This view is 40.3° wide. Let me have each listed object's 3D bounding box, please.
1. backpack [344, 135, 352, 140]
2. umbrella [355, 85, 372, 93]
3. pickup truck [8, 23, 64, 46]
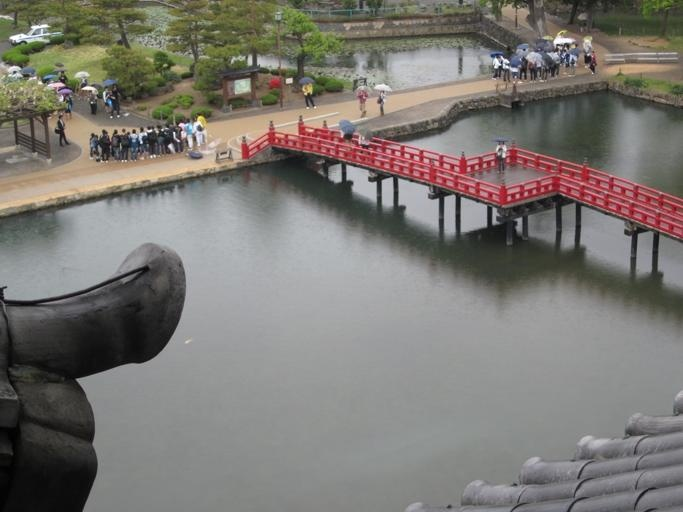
[{"bbox_3d":[0.258,-5.181,40.083,0.293,0.265,0.162,5,57,1],"label":"backpack"},{"bbox_3d":[1.220,-8.668,47.876,0.882,0.285,0.888,5,12,35],"label":"umbrella"},{"bbox_3d":[-20.443,-14.563,61.890,3.310,1.330,1.776,-5,22,-11],"label":"pickup truck"}]
